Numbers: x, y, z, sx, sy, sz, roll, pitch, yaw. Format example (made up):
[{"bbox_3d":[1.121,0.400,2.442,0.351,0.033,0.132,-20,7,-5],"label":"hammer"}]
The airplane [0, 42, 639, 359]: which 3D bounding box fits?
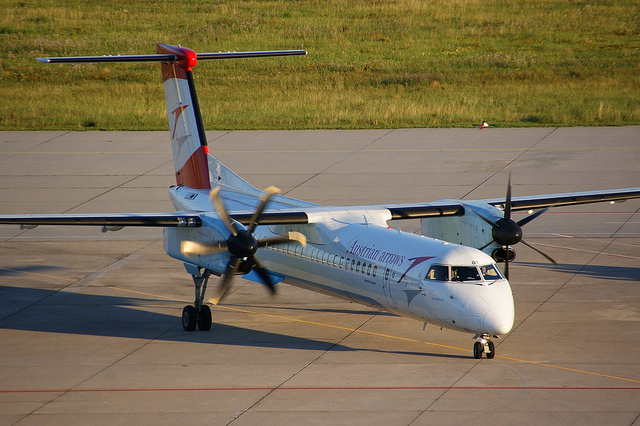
[{"bbox_3d":[-1.297,0.688,46.338,23.816,6.116,21.525,-7,18,-36],"label":"airplane"}]
